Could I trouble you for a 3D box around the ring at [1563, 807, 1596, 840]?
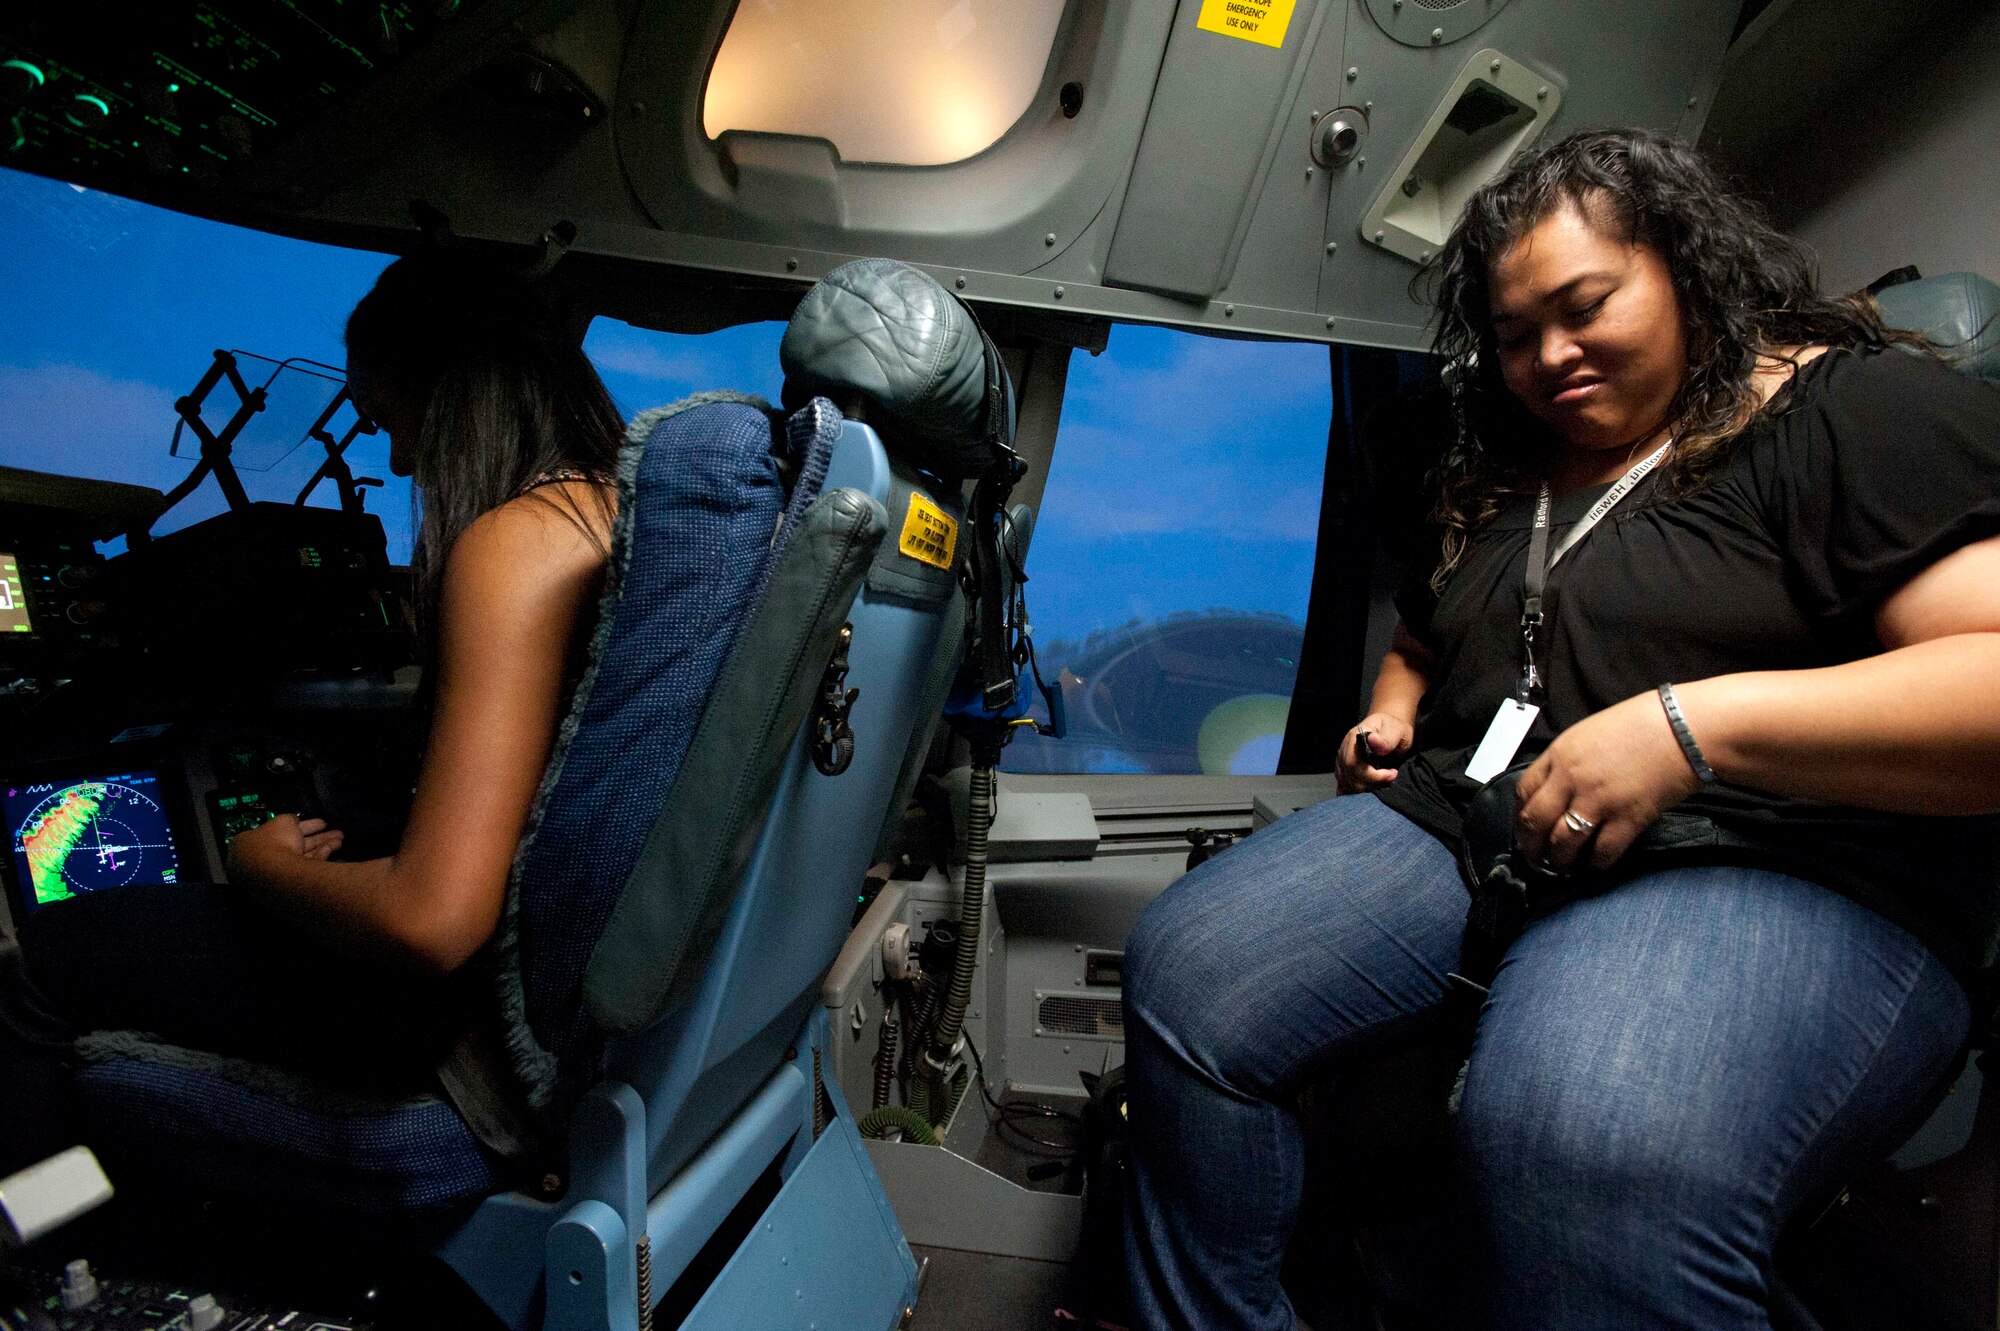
[{"bbox_3d":[0.829,0.226,1.970,0.034,0.018,0.045,-27,76,-31],"label":"ring"}]
